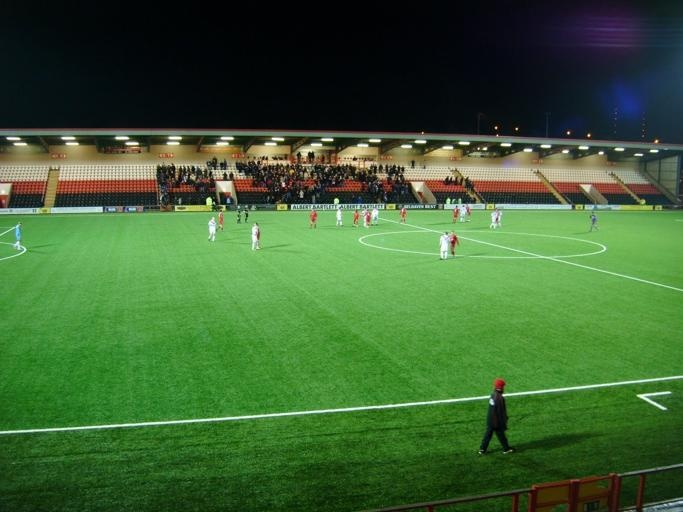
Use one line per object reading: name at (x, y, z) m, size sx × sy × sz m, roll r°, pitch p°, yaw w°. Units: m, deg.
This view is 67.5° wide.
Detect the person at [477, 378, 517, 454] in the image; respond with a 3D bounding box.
person at (3.315, 3.353, 10.844) m, size 0.728 × 1.596 × 0.713 m, roll 2°, pitch 13°, yaw 7°
